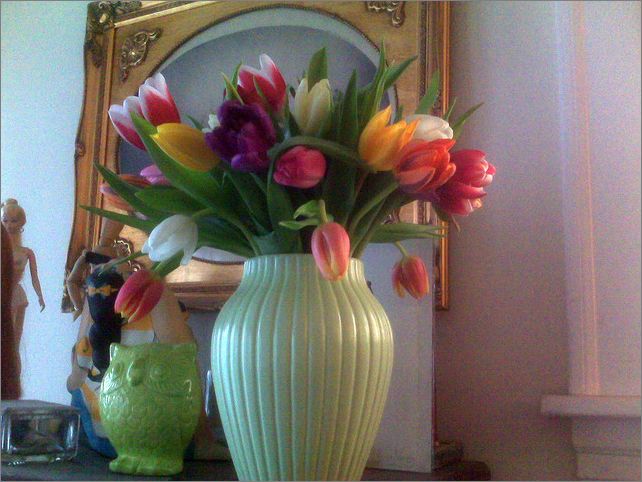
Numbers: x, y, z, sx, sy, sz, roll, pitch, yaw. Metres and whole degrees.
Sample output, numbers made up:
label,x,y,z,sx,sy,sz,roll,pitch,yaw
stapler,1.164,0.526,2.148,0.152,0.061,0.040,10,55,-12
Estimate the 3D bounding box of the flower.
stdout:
label,x,y,z,sx,sy,sz,roll,pitch,yaw
flower,-0.039,-0.075,0.797,0.375,0.314,0.445,0,-9,-20
